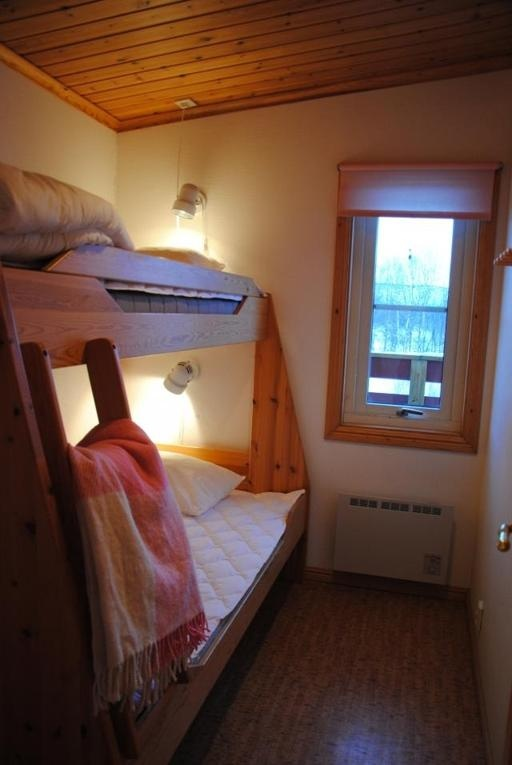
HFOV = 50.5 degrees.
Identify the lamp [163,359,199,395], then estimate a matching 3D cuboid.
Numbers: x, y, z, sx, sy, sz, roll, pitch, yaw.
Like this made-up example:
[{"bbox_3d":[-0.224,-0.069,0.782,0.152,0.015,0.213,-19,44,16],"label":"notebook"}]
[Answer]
[{"bbox_3d":[-0.361,-0.023,2.716,0.114,0.123,0.200,38,20,-5],"label":"lamp"}]
